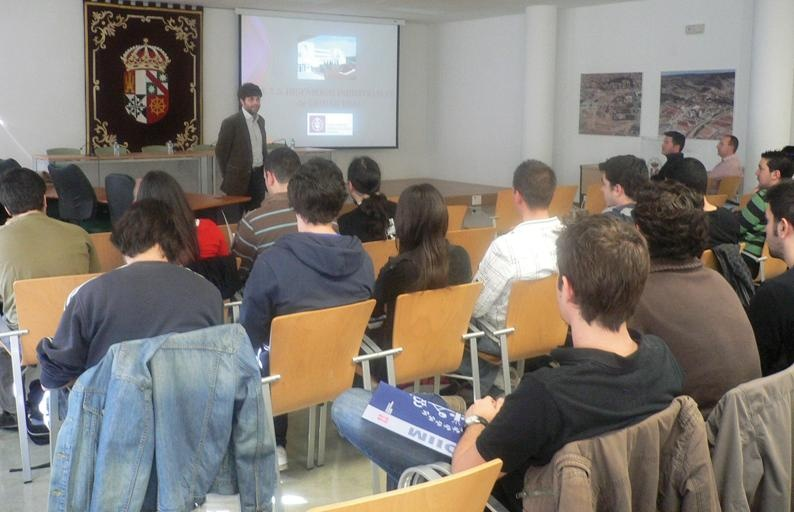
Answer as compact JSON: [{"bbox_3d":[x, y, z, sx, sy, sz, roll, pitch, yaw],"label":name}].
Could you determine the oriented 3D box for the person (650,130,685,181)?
[{"bbox_3d":[3.542,-1.236,8.201,0.441,0.748,0.844,8,1,25],"label":"person"}]

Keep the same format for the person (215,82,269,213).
[{"bbox_3d":[-1.901,-1.038,7.961,0.672,2.177,0.606,-2,12,-25],"label":"person"}]

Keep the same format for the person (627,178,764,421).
[{"bbox_3d":[1.292,0.162,2.924,0.589,1.005,0.603,-10,16,-4],"label":"person"}]

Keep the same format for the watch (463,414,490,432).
[{"bbox_3d":[0.299,0.627,2.410,0.048,0.077,0.072,-4,11,-40],"label":"watch"}]

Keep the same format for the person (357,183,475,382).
[{"bbox_3d":[0.086,0.111,3.945,0.606,1.269,0.739,-23,38,-38],"label":"person"}]
